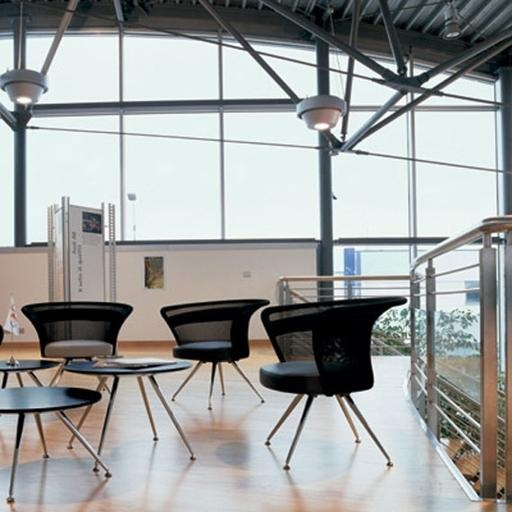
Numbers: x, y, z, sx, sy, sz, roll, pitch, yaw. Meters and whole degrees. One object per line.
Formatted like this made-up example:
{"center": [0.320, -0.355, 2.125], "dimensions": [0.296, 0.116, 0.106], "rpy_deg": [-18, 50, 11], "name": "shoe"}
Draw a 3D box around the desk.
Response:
{"center": [-0.917, 0.892, 3.367], "dimensions": [0.832, 0.530, 1.129], "rpy_deg": [1, 3, 36], "name": "desk"}
